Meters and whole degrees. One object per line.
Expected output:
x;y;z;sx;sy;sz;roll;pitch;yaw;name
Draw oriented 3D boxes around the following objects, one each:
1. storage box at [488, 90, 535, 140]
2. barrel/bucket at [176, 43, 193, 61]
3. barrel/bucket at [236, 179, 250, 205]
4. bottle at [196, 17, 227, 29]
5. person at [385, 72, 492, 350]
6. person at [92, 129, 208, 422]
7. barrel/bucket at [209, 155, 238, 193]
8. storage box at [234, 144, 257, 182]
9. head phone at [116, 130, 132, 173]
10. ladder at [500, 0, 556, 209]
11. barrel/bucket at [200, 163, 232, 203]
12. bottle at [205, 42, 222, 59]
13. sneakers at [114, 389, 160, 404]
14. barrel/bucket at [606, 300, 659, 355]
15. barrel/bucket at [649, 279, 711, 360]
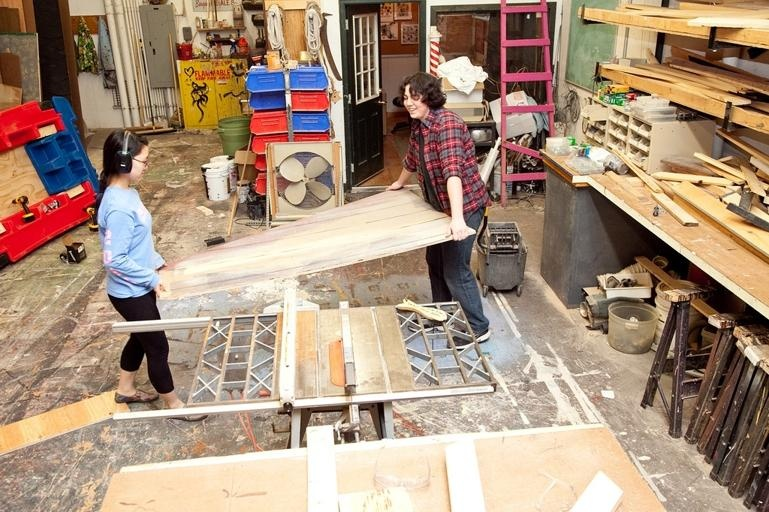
2.069;-2.203;7.842;0.743;0.709;0.453;-3;0;8;storage box
-4.833;-4.867;11.629;0.407;0.357;0.443;-3;23;1;barrel/bucket
-2.206;-0.994;7.595;0.304;0.411;0.294;0;13;0;barrel/bucket
-4.173;-5.577;11.693;0.770;0.285;0.314;-6;24;-7;bottle
0.610;-0.317;4.342;0.692;2.460;1.103;-9;24;-12;person
-1.844;0.266;3.639;0.681;2.315;0.627;-19;28;-30;person
-2.782;-1.458;8.391;0.635;0.633;0.618;0;20;0;barrel/bucket
-2.246;-1.462;7.885;0.342;0.618;0.772;-10;24;-15;storage box
-1.829;-0.703;3.425;0.119;0.298;0.330;5;-3;-25;head phone
2.200;-2.450;7.658;0.901;2.903;2.010;3;25;16;ladder
-2.716;-1.228;8.173;0.595;0.603;0.579;1;33;-1;barrel/bucket
-4.121;-4.935;11.746;0.310;0.313;0.557;-2;4;12;bottle
-2.101;1.182;4.101;0.304;0.088;0.117;-3;29;-24;sneakers
2.347;0.664;4.694;0.509;0.365;0.465;-2;30;1;barrel/bucket
2.502;0.552;4.097;0.468;0.584;0.456;-5;36;4;barrel/bucket
